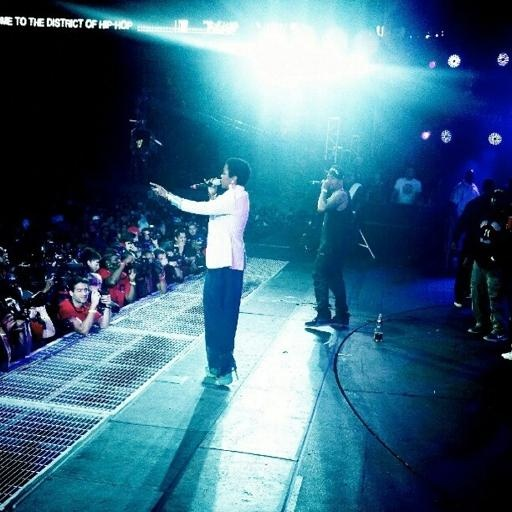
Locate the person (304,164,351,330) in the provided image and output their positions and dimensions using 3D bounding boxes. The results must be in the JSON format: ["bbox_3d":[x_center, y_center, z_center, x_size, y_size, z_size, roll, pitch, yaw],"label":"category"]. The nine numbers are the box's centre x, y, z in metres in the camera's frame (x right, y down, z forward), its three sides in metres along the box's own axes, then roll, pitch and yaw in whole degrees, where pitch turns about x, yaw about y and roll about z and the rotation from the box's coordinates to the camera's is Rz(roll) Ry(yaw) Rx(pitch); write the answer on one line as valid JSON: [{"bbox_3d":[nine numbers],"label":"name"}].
[{"bbox_3d":[1.103,-0.099,6.375,0.599,2.312,0.485,4,9,9],"label":"person"}]

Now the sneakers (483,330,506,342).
[{"bbox_3d":[3.321,1.096,6.224,0.335,0.164,0.121,1,2,4],"label":"sneakers"}]

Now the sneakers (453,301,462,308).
[{"bbox_3d":[3.558,0.850,7.856,0.140,0.105,0.142,-1,-1,1],"label":"sneakers"}]

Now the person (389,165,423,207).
[{"bbox_3d":[4.203,-1.943,12.364,0.722,0.910,0.274,5,9,15],"label":"person"}]

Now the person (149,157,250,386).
[{"bbox_3d":[-0.432,0.145,4.463,0.696,2.239,0.418,2,9,-7],"label":"person"}]

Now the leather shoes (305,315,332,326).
[{"bbox_3d":[0.927,0.940,6.588,0.421,0.174,0.153,2,-5,-12],"label":"leather shoes"}]

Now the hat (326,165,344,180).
[{"bbox_3d":[1.134,-1.178,6.329,0.211,0.204,0.252,4,9,9],"label":"hat"}]
